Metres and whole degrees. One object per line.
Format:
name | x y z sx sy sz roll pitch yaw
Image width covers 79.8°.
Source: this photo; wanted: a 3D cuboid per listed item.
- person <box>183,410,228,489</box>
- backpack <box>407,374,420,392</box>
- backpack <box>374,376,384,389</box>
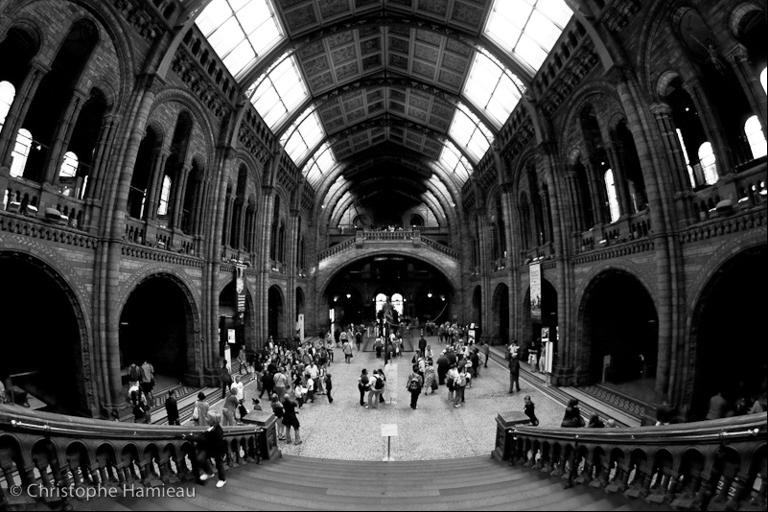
person | -4.396 4.892 11.702 1.052 1.902 0.719 4 -1 20
backpack | 1.266 5.197 18.876 0.524 0.597 0.425 4 -1 -5
backpack | -0.169 5.272 19.215 0.241 0.505 0.485 3 -2 41
